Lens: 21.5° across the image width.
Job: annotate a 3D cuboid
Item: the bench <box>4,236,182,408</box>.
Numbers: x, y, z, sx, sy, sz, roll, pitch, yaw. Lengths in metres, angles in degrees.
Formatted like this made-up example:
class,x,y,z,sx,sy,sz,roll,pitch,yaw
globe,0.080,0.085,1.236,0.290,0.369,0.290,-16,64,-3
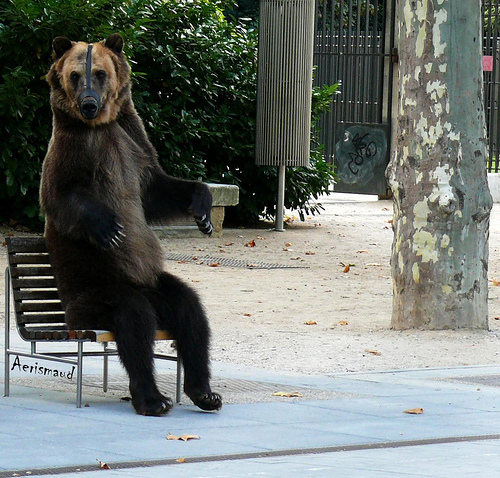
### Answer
class,x,y,z,sx,sy,sz,roll,pitch,yaw
bench,-1.366,0.614,8.569,1.144,1.201,1.215,1,2,12
